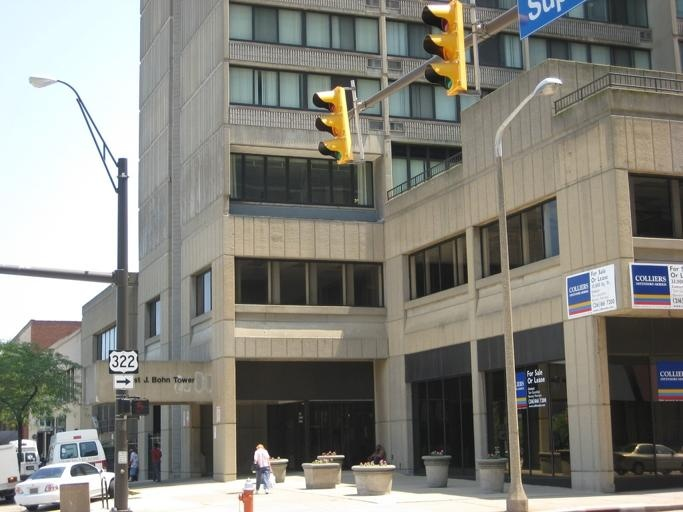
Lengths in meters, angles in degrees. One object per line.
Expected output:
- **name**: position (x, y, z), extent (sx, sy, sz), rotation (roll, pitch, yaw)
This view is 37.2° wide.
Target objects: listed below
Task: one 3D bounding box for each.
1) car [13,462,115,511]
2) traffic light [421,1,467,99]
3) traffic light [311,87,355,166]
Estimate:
- **car**: position (-12.238, 9.874, 44.563), extent (3.690, 3.017, 3.500), rotation (1, -11, -15)
- **traffic light**: position (2.569, -5.406, 25.516), extent (1.004, 2.623, 1.181), rotation (-5, -15, 10)
- **traffic light**: position (-0.154, -3.863, 27.807), extent (0.813, 2.473, 0.923), rotation (6, -10, -35)
